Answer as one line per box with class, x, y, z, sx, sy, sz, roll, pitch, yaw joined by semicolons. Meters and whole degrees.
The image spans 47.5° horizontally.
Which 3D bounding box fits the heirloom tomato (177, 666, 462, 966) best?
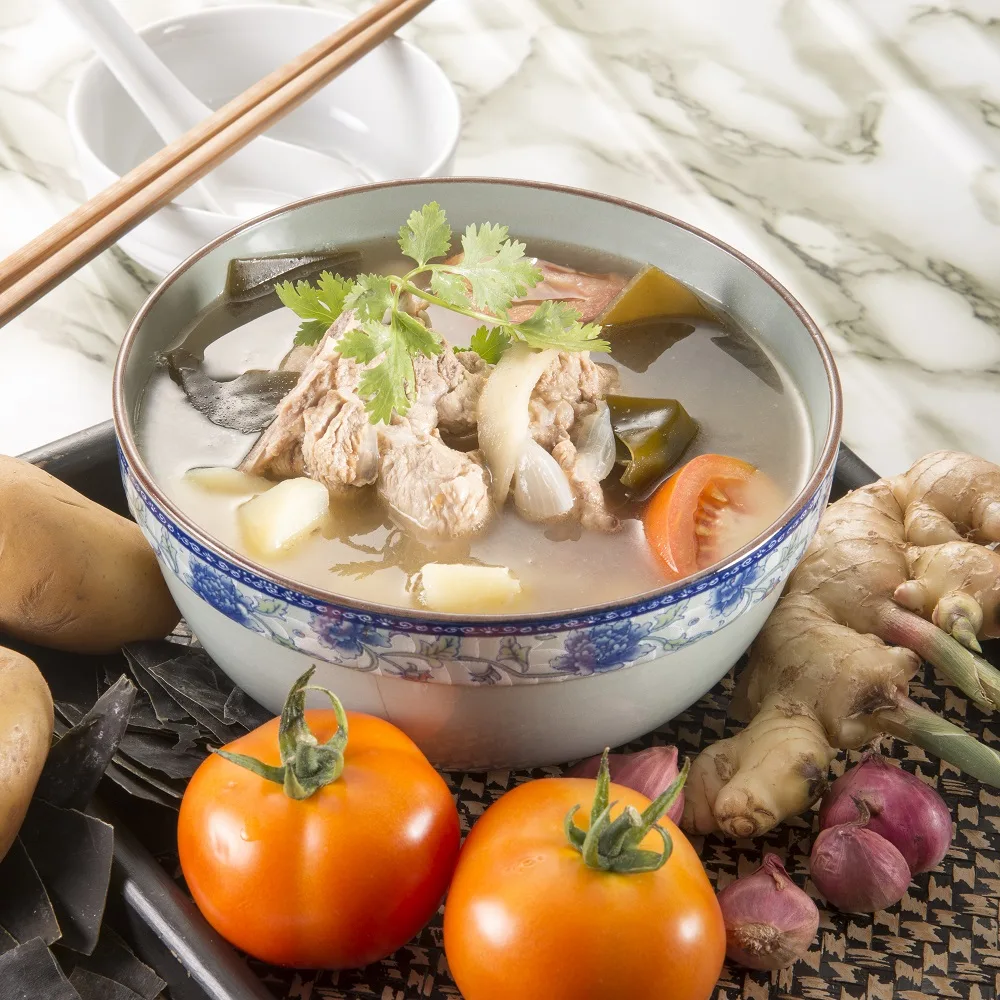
heirloom tomato;-0.182;0.314;1.121;0.274;0.217;0.255;-21;38;-27
